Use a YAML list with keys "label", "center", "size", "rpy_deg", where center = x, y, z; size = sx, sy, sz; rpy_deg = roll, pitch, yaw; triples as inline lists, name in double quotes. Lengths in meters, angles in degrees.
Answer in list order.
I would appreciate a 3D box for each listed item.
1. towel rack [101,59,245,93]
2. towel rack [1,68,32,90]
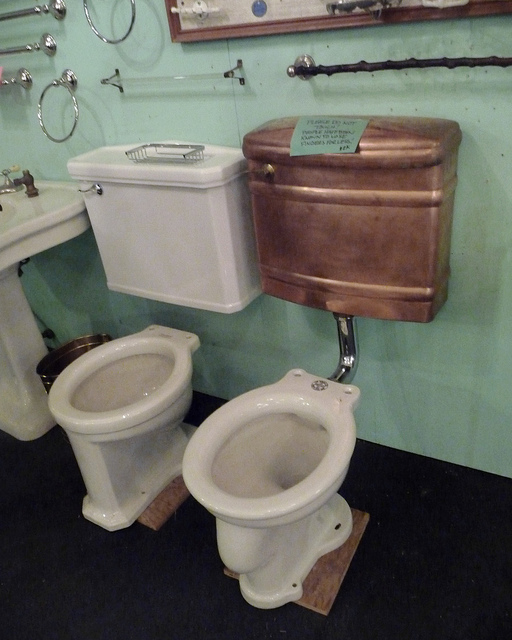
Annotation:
- label: "towel rack"
  center: [-0.221, -0.607, 1.281]
  size: [0.449, 0.061, 0.034]
  rpy_deg: [12, 35, 32]
- label: "towel rack"
  center: [-0.761, -0.746, 1.599]
  size: [0.170, 0.059, 0.061]
  rpy_deg: [18, 40, 38]
